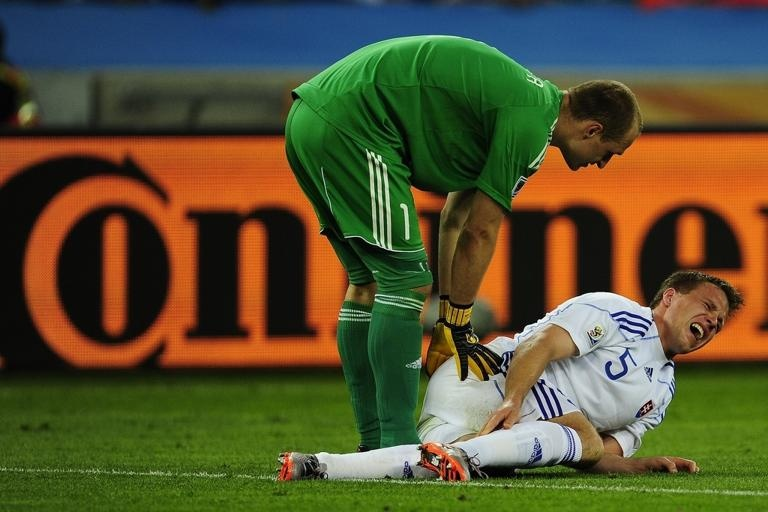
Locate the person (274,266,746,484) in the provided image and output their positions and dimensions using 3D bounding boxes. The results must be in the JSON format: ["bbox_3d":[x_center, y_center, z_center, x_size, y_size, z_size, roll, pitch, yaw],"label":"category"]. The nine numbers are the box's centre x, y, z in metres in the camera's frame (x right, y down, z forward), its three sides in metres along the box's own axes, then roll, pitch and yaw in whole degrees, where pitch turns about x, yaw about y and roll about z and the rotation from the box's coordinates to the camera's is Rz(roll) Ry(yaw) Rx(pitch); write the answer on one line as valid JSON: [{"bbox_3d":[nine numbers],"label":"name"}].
[{"bbox_3d":[0.890,0.698,8.689,2.330,1.051,1.248,-4,0,-5],"label":"person"}]

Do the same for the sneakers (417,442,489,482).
[{"bbox_3d":[0.430,1.189,8.182,0.425,0.168,0.198,20,20,23],"label":"sneakers"}]

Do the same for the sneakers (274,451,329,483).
[{"bbox_3d":[-0.471,1.248,8.229,0.237,0.105,0.158,1,40,-6],"label":"sneakers"}]
